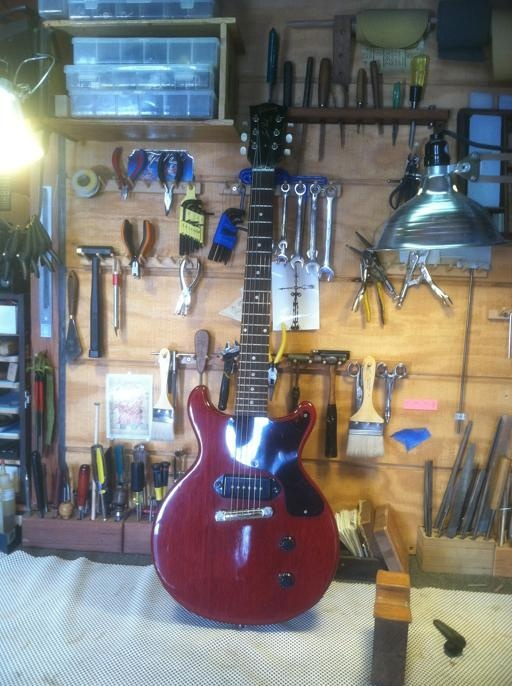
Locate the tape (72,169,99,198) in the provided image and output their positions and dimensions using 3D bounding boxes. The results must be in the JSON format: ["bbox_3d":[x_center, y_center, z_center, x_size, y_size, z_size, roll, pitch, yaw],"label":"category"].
[{"bbox_3d":[-0.652,-0.615,2.504,0.099,0.107,0.099,10,3,-5],"label":"tape"}]

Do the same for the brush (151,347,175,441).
[{"bbox_3d":[-0.356,0.193,2.507,0.077,0.382,0.070,-2,15,-16],"label":"brush"}]

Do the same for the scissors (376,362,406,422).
[{"bbox_3d":[0.517,0.160,2.463,0.097,0.247,0.092,4,15,7],"label":"scissors"}]

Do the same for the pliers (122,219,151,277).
[{"bbox_3d":[-0.455,-0.360,2.475,0.115,0.213,0.047,0,-6,-1],"label":"pliers"}]

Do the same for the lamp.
[{"bbox_3d":[0.507,-0.466,1.851,0.295,0.382,0.302,1,15,-6],"label":"lamp"}]

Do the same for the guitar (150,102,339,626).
[{"bbox_3d":[-0.063,0.032,2.123,0.588,1.677,0.525,-2,10,-12],"label":"guitar"}]

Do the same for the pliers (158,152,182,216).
[{"bbox_3d":[-0.328,-0.605,2.445,0.078,0.225,0.038,-3,-1,-7],"label":"pliers"}]

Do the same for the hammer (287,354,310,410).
[{"bbox_3d":[0.166,0.177,2.442,0.082,0.084,0.252,-9,51,13],"label":"hammer"}]

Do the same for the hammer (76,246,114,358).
[{"bbox_3d":[-0.617,-0.163,2.523,0.132,0.431,0.084,0,10,1],"label":"hammer"}]

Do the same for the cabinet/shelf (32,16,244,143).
[{"bbox_3d":[-0.409,-0.931,2.246,0.463,0.264,0.337,1,10,4],"label":"cabinet/shelf"}]

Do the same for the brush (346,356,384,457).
[{"bbox_3d":[0.421,0.238,2.443,0.129,0.367,0.086,2,10,12],"label":"brush"}]

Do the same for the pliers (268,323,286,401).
[{"bbox_3d":[0.081,0.081,2.412,0.087,0.246,0.033,6,-10,2],"label":"pliers"}]
